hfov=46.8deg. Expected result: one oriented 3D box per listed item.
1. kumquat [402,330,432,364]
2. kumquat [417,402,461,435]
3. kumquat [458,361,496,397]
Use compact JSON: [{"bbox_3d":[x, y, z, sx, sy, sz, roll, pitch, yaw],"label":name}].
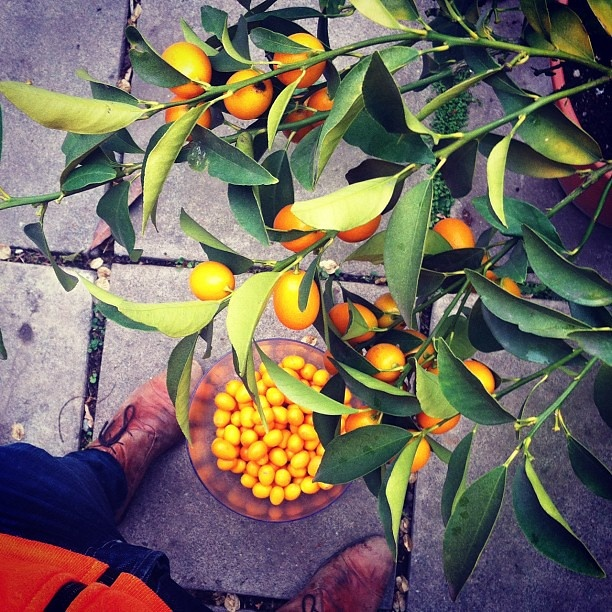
[{"bbox_3d":[0.219,0.075,1.324,0.060,0.038,0.043,22,43,-25],"label":"kumquat"},{"bbox_3d":[0.239,0.207,1.250,0.056,0.055,0.065,0,106,7],"label":"kumquat"},{"bbox_3d":[0.289,0.124,1.192,0.050,0.057,0.050,5,39,20],"label":"kumquat"}]
